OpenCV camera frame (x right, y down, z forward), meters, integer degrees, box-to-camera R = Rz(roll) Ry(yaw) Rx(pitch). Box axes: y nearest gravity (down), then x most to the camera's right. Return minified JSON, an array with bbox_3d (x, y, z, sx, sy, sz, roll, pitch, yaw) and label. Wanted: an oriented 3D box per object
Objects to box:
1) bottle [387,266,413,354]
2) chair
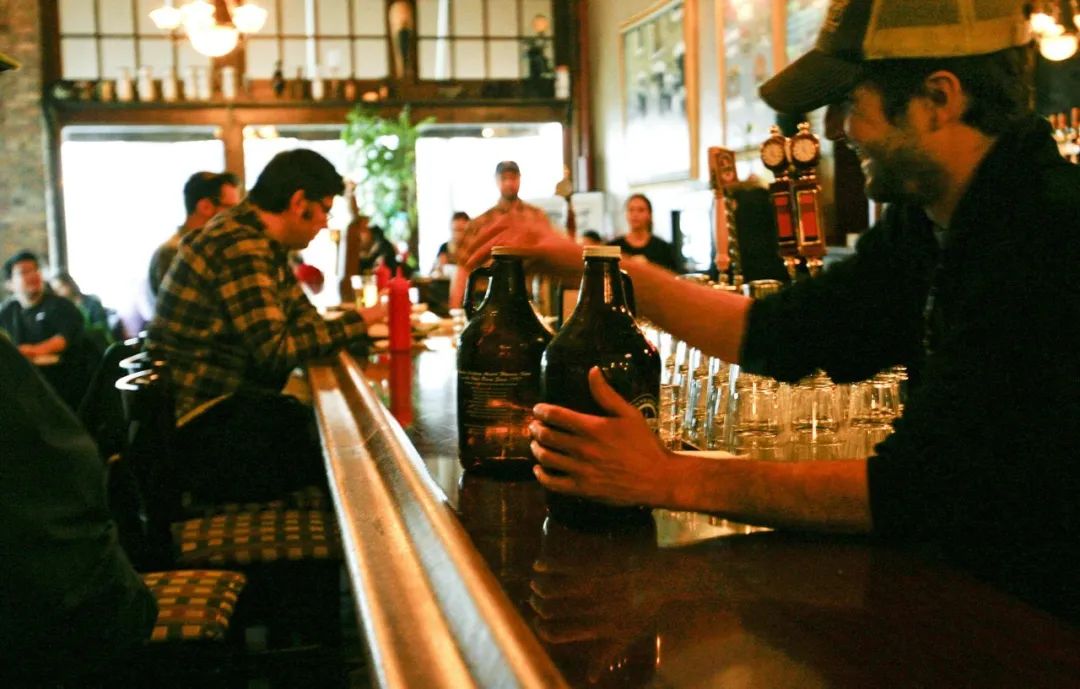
[{"bbox_3d":[-0.455,-0.108,3.113,0.070,0.252,0.168,-3,6,-9],"label":"bottle"},{"bbox_3d":[-0.871,0.445,2.735,0.541,0.864,0.764,-4,6,-16],"label":"chair"}]
